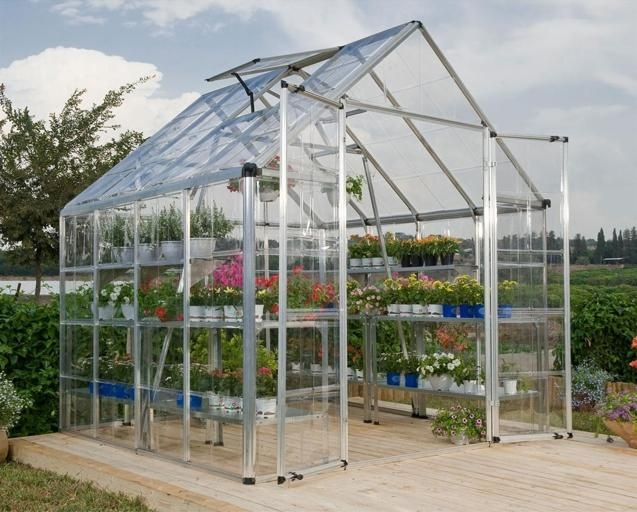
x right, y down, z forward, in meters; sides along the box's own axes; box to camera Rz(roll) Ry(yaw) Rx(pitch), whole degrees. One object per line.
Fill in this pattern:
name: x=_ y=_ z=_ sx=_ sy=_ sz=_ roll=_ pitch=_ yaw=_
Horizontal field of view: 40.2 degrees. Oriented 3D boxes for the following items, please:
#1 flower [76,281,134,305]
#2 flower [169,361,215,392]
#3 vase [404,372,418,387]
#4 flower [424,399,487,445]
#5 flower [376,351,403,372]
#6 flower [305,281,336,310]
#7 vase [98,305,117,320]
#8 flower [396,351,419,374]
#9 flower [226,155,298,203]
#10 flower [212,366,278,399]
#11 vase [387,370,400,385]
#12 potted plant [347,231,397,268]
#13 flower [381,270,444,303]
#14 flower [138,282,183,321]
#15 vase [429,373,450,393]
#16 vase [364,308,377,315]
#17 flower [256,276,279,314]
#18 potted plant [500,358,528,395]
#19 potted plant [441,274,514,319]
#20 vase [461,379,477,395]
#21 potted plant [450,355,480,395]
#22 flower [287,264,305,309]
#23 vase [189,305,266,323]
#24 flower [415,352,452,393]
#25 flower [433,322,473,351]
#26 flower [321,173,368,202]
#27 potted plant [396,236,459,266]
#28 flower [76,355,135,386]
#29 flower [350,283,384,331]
flower: x=-2.763 y=0.502 z=11.467 sx=0.492 sy=0.229 sz=0.484 roll=2 pitch=-1 yaw=4
flower: x=-1.513 y=1.436 z=10.393 sx=0.474 sy=0.188 sz=0.325 roll=3 pitch=-4 yaw=27
vase: x=1.311 y=1.730 z=12.272 sx=0.232 sy=0.222 sz=0.171 roll=-1 pitch=-5 yaw=26
flower: x=1.888 y=2.177 z=11.381 sx=0.512 sy=0.340 sz=0.504 roll=4 pitch=-6 yaw=-37
flower: x=1.076 y=1.538 z=12.571 sx=0.346 sy=0.232 sz=0.301 roll=0 pitch=2 yaw=-25
flower: x=0.047 y=0.469 z=10.249 sx=0.310 sy=0.259 sz=0.297 roll=3 pitch=0 yaw=-25
vase: x=-2.809 y=0.748 z=11.548 sx=0.207 sy=0.147 sz=0.216 roll=1 pitch=1 yaw=33
flower: x=1.257 y=1.499 z=12.298 sx=0.271 sy=0.184 sz=0.273 roll=-1 pitch=2 yaw=-28
flower: x=-0.645 y=-0.805 z=10.062 sx=0.607 sy=0.414 sz=0.616 roll=-4 pitch=-6 yaw=35
flower: x=-0.816 y=1.432 z=10.015 sx=0.500 sy=0.218 sz=0.392 roll=-2 pitch=-4 yaw=35
vase: x=1.069 y=1.755 z=12.454 sx=0.181 sy=0.173 sz=0.173 roll=1 pitch=1 yaw=-3
potted plant: x=0.872 y=-0.043 z=13.530 sx=0.543 sy=0.469 sz=0.650 roll=-3 pitch=-3 yaw=23
flower: x=1.348 y=0.499 z=12.399 sx=0.531 sy=0.305 sz=0.605 roll=-3 pitch=-3 yaw=30
flower: x=-1.967 y=0.572 z=10.790 sx=0.546 sy=0.480 sz=0.345 roll=5 pitch=2 yaw=44
vase: x=1.664 y=1.743 z=11.951 sx=0.235 sy=0.155 sz=0.239 roll=-4 pitch=-8 yaw=43
vase: x=0.768 y=0.817 z=12.712 sx=0.117 sy=0.073 sz=0.117 roll=-1 pitch=0 yaw=16
flower: x=-0.550 y=0.439 z=10.127 sx=0.347 sy=0.407 sz=0.416 roll=-1 pitch=5 yaw=5
potted plant: x=2.564 y=1.559 z=11.405 sx=0.403 sy=0.514 sz=0.131 roll=-4 pitch=7 yaw=-29
potted plant: x=2.130 y=0.578 z=11.578 sx=0.578 sy=0.454 sz=0.685 roll=-2 pitch=-2 yaw=36
vase: x=2.025 y=1.754 z=11.616 sx=0.181 sy=0.129 sz=0.157 roll=4 pitch=-6 yaw=-25
potted plant: x=1.950 y=1.631 z=11.726 sx=0.453 sy=0.497 sz=0.426 roll=3 pitch=-2 yaw=-22
flower: x=-0.259 y=0.364 z=10.068 sx=0.089 sy=0.477 sz=0.266 roll=5 pitch=9 yaw=42
vase: x=-1.083 y=0.659 z=10.187 sx=1.021 sy=0.265 sz=0.199 roll=4 pitch=8 yaw=38
flower: x=1.603 y=1.605 z=11.943 sx=0.484 sy=0.456 sz=0.480 roll=1 pitch=-2 yaw=14
flower: x=1.947 y=1.130 z=12.439 sx=0.429 sy=0.293 sz=0.387 roll=-3 pitch=-1 yaw=-21
flower: x=0.320 y=-0.905 z=11.349 sx=0.591 sy=0.432 sz=0.626 roll=0 pitch=3 yaw=35
potted plant: x=1.602 y=-0.056 z=12.785 sx=0.504 sy=0.327 sz=0.641 roll=-2 pitch=-1 yaw=-6
flower: x=-2.730 y=1.498 z=11.427 sx=0.443 sy=0.182 sz=0.579 roll=3 pitch=-3 yaw=-43
flower: x=0.660 y=0.745 z=12.884 sx=0.530 sy=0.539 sz=0.573 roll=-1 pitch=1 yaw=-4
